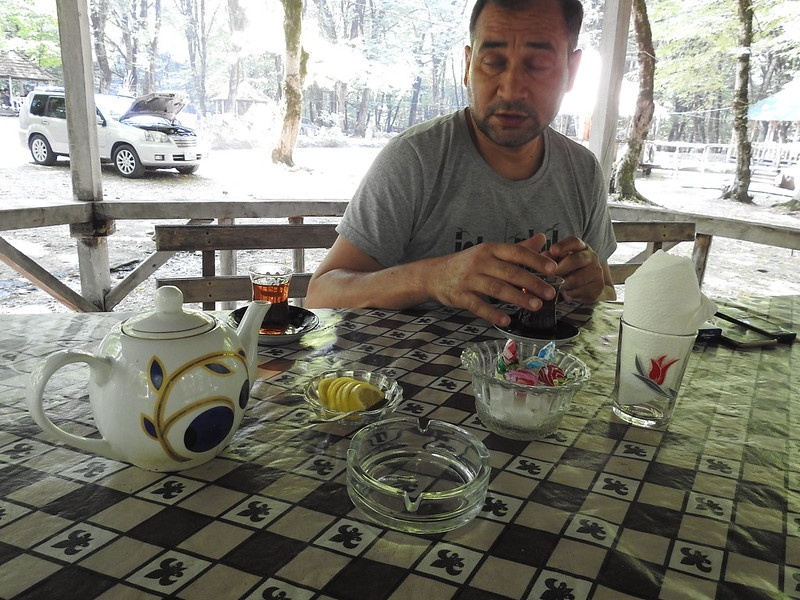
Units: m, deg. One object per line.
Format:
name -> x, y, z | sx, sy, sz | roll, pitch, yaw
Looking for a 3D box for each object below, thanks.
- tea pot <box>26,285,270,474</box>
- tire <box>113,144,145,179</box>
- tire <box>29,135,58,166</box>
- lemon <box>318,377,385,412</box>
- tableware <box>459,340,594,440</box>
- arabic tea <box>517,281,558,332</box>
tea pot -> -0.450, 0.137, 0.959 | 0.303, 0.272, 0.471 | 10, 12, 31
tire -> -6.010, -3.127, 11.398 | 0.597, 0.535, 0.214 | 36, 28, 20
tire -> -8.534, -3.636, 12.291 | 0.578, 0.561, 0.189 | -37, 8, 39
lemon -> -0.103, 0.194, 1.125 | 0.089, 0.027, 0.092 | 14, 16, 32
tableware -> 0.280, 0.167, 1.113 | 0.246, 0.118, 0.248 | 17, 25, 41
arabic tea -> 0.415, 0.021, 1.549 | 0.145, 0.163, 0.127 | 3, 9, 11
